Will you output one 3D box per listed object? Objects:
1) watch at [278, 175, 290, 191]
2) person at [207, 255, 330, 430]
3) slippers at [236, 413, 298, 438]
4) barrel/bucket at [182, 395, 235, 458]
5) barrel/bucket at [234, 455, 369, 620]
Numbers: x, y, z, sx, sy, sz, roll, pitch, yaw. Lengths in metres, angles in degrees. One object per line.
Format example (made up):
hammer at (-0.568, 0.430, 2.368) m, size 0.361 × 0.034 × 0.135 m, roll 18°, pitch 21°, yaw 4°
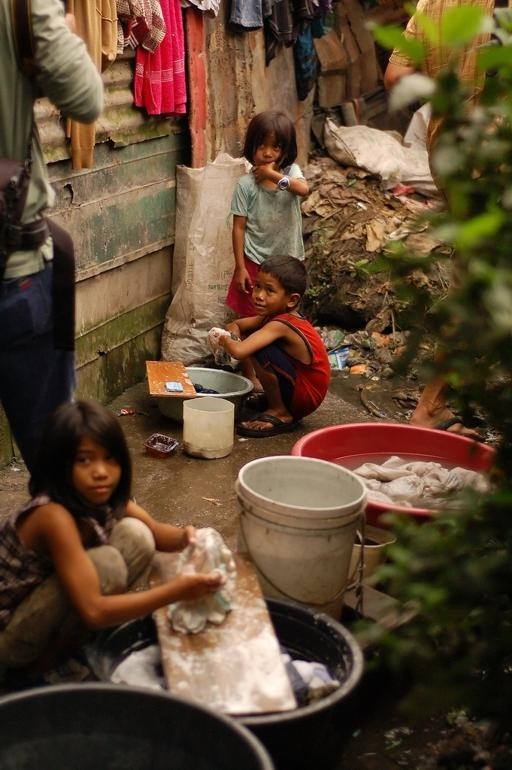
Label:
watch at (0.203, -1.477, 4.361) m, size 0.061 × 0.103 × 0.101 m, roll 4°, pitch 12°, yaw -1°
person at (0.067, -0.292, 4.012) m, size 0.592 × 1.120 × 0.708 m, roll -9°, pitch 25°, yaw -32°
slippers at (0.064, 0.257, 3.959) m, size 0.299 × 0.099 × 0.159 m, roll -2°, pitch 5°, yaw -22°
barrel/bucket at (-0.300, 0.260, 3.662) m, size 0.308 × 0.306 × 0.297 m, roll 5°, pitch 14°, yaw -1°
barrel/bucket at (0.164, 0.628, 2.287) m, size 0.412 × 0.612 × 0.423 m, roll 2°, pitch 21°, yaw -1°
